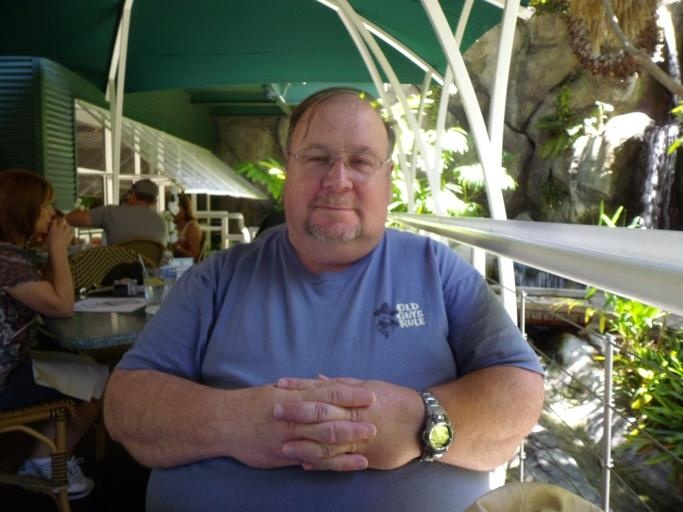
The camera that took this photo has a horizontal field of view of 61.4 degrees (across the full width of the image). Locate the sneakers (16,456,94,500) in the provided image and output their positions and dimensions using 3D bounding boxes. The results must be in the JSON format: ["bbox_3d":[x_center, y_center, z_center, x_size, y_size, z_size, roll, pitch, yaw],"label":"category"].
[{"bbox_3d":[-1.510,1.190,3.141,0.424,0.218,0.212,13,7,-20],"label":"sneakers"}]

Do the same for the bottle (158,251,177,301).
[{"bbox_3d":[-1.059,0.134,3.399,0.099,0.267,0.101,11,4,-1],"label":"bottle"}]

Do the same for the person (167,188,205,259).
[{"bbox_3d":[-1.714,-0.241,6.160,0.458,0.770,0.419,0,3,37],"label":"person"}]
